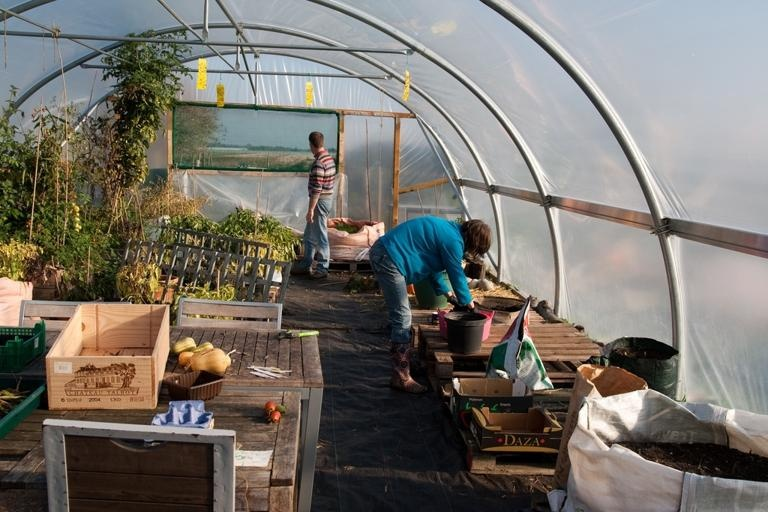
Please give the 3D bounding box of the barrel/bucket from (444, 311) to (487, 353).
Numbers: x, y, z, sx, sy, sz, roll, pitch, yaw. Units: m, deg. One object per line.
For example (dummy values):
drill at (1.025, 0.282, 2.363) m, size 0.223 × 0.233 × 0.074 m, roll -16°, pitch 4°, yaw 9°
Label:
barrel/bucket at (0.810, 0.783, 5.843) m, size 0.439 × 0.327 × 0.408 m, roll 1°, pitch 3°, yaw 0°

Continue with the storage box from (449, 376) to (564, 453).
storage box at (1.082, 1.381, 4.869) m, size 1.001 × 0.513 × 0.652 m, roll 1°, pitch 1°, yaw 6°

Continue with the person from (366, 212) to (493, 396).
person at (0.415, 0.511, 5.668) m, size 1.132 × 1.809 × 0.334 m, roll 1°, pitch 1°, yaw 12°

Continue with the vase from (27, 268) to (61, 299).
vase at (-4.348, 0.430, 7.367) m, size 0.364 × 0.323 × 0.262 m, roll 2°, pitch 8°, yaw 10°

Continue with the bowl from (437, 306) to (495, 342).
bowl at (0.882, 0.757, 6.129) m, size 0.494 × 0.207 × 0.562 m, roll -6°, pitch 8°, yaw -24°

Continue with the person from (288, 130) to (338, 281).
person at (-1.202, -0.849, 9.824) m, size 0.634 × 2.462 × 1.147 m, roll 1°, pitch 1°, yaw -8°

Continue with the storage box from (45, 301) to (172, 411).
storage box at (-1.734, 0.619, 3.591) m, size 0.659 × 0.579 × 0.656 m, roll 1°, pitch 1°, yaw -16°

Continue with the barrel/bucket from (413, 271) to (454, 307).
barrel/bucket at (0.568, 0.465, 7.546) m, size 0.539 × 0.420 × 0.511 m, roll 1°, pitch 1°, yaw 0°

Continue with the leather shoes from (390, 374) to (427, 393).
leather shoes at (0.245, 1.331, 5.970) m, size 0.405 × 0.272 × 0.156 m, roll -2°, pitch 4°, yaw 13°

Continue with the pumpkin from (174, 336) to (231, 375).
pumpkin at (-1.222, 0.670, 3.786) m, size 0.247 × 0.099 × 0.247 m, roll 6°, pitch 9°, yaw -40°
